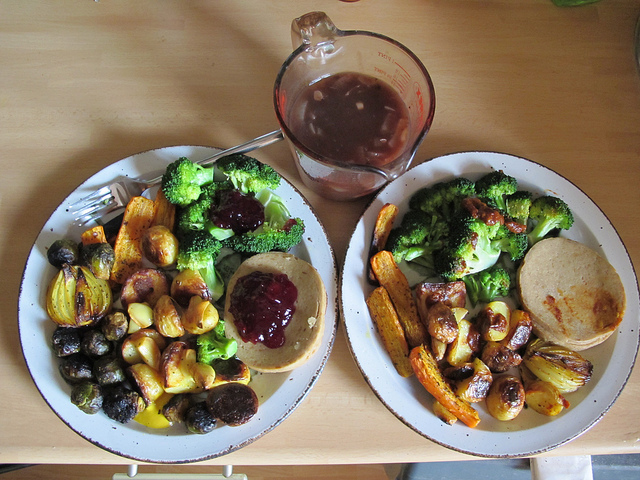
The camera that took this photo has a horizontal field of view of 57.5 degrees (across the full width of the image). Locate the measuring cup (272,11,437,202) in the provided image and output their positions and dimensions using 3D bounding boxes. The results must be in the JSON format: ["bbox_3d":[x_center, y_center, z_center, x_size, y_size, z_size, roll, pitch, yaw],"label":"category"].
[{"bbox_3d":[0.142,-0.587,2.514,0.656,0.528,0.770,-30,91,-1],"label":"measuring cup"}]

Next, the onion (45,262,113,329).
[{"bbox_3d":[-1.009,0.246,2.414,0.269,0.082,0.259,37,85,2],"label":"onion"}]

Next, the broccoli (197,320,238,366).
[{"bbox_3d":[-0.435,0.429,2.369,0.167,0.065,0.161,-24,85,3],"label":"broccoli"}]

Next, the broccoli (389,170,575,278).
[{"bbox_3d":[0.664,-0.079,2.494,0.769,0.159,0.417,-21,86,-3],"label":"broccoli"}]

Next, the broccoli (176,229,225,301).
[{"bbox_3d":[-0.508,0.107,2.457,0.182,0.153,0.301,-2,85,-1],"label":"broccoli"}]

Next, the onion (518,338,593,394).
[{"bbox_3d":[0.966,0.530,2.404,0.258,0.098,0.194,19,85,1],"label":"onion"}]

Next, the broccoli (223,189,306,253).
[{"bbox_3d":[-0.234,-0.065,2.478,0.300,0.102,0.298,36,73,2],"label":"broccoli"}]

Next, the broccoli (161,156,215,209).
[{"bbox_3d":[-0.554,-0.256,2.451,0.225,0.180,0.119,-21,44,-27],"label":"broccoli"}]

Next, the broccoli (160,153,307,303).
[{"bbox_3d":[-0.360,-0.089,2.508,0.561,0.247,0.653,-13,85,-2],"label":"broccoli"}]

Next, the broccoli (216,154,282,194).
[{"bbox_3d":[-0.306,-0.324,2.557,0.258,0.157,0.244,-17,32,-27],"label":"broccoli"}]
